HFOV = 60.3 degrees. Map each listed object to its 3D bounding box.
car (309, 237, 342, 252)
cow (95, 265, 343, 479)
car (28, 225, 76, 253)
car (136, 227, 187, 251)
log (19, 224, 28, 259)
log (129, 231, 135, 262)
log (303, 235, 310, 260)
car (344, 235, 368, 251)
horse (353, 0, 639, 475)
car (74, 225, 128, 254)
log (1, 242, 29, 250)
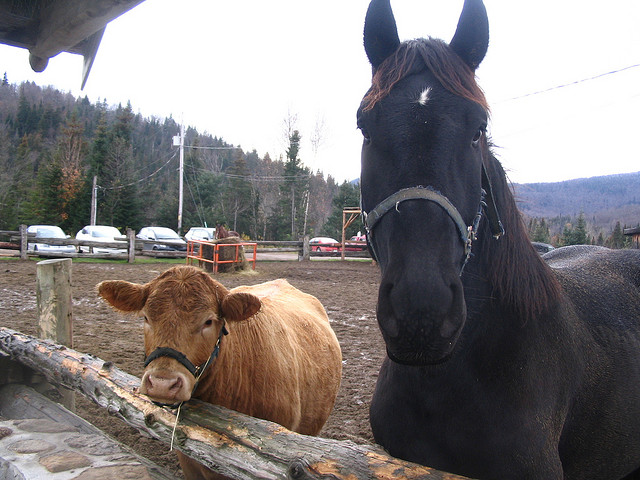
[{"bbox_3d":[0.318,0.283,33.239,1.436,0.874,2.502,3,-2,-24],"label":"car"},{"bbox_3d":[-0.700,1.146,5.158,1.129,1.933,3.161,-4,-13,18],"label":"cow"},{"bbox_3d":[-10.686,-0.079,21.823,1.264,1.041,2.714,2,-1,-35],"label":"car"},{"bbox_3d":[-6.771,-0.115,23.665,1.126,1.030,2.449,0,-2,-39],"label":"car"},{"bbox_3d":[-9.899,0.057,18.423,0.186,1.084,0.590,2,-1,-31],"label":"log"},{"bbox_3d":[-6.722,0.241,19.681,0.157,0.925,0.311,2,-1,-24],"label":"log"},{"bbox_3d":[-0.647,0.370,25.457,0.258,1.081,0.419,2,-1,-4],"label":"log"},{"bbox_3d":[2.105,0.033,31.576,1.469,0.914,0.973,5,-4,-34],"label":"car"},{"bbox_3d":[1.171,0.065,3.601,1.936,3.025,0.793,3,-2,-30],"label":"horse"},{"bbox_3d":[-9.045,-0.173,22.900,1.413,1.215,3.124,1,-2,-35],"label":"car"},{"bbox_3d":[-11.394,0.220,20.622,0.650,0.150,0.180,10,15,17],"label":"log"}]
